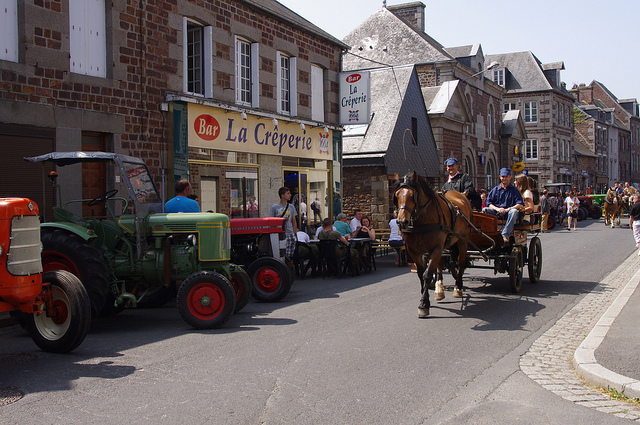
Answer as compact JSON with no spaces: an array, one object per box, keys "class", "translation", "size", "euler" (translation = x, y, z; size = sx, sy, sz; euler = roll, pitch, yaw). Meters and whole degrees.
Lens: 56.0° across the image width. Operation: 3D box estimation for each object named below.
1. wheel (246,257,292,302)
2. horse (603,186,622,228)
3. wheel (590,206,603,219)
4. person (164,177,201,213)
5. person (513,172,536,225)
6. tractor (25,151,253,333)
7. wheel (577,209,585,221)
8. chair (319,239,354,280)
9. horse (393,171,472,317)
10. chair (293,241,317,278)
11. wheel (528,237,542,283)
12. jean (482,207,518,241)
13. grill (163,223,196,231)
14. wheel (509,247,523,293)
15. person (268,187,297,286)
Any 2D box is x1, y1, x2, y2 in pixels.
[{"class":"wheel","translation":[-1.149,1.521,13.358],"size":[0.868,0.966,0.338],"euler":[2,-1,8]},{"class":"horse","translation":[17.498,-0.240,36.154],"size":[0.808,2.335,3.503],"euler":[4,-3,25]},{"class":"wheel","translation":[19.963,-0.031,43.559],"size":[0.334,0.914,0.833],"euler":[7,-4,-37]},{"class":"person","translation":[-2.809,-0.309,12.315],"size":[0.861,0.807,0.473],"euler":[-1,-3,16]},{"class":"person","translation":[4.998,-0.295,14.666],"size":[0.452,1.236,0.564],"euler":[-12,12,6]},{"class":"tractor","translation":[-3.791,0.493,12.532],"size":[4.521,4.132,3.185],"euler":[-1,1,1]},{"class":"wheel","translation":[18.303,0.121,42.272],"size":[0.242,0.730,0.671],"euler":[0,15,-34]},{"class":"chair","translation":[0.440,1.320,17.047],"size":[0.965,1.203,0.907],"euler":[-5,2,-16]},{"class":"horse","translation":[2.316,0.566,12.305],"size":[0.957,2.809,2.594],"euler":[3,7,30]},{"class":"chair","translation":[-0.549,1.338,17.480],"size":[0.855,1.233,0.868],"euler":[-1,2,-29]},{"class":"wheel","translation":[5.245,1.195,14.705],"size":[0.153,1.050,1.005],"euler":[-1,6,26]},{"class":"jean","translation":[4.169,0.224,13.873],"size":[0.697,0.692,1.214],"euler":[0,6,6]},{"class":"grill","translation":[-2.621,0.273,11.331],"size":[0.577,0.141,0.056],"euler":[-1,6,-3]},{"class":"wheel","translation":[4.359,1.269,13.410],"size":[0.192,1.004,0.963],"euler":[-1,2,28]},{"class":"person","translation":[-0.946,0.642,15.866],"size":[0.668,2.563,1.554],"euler":[-1,6,-5]}]
